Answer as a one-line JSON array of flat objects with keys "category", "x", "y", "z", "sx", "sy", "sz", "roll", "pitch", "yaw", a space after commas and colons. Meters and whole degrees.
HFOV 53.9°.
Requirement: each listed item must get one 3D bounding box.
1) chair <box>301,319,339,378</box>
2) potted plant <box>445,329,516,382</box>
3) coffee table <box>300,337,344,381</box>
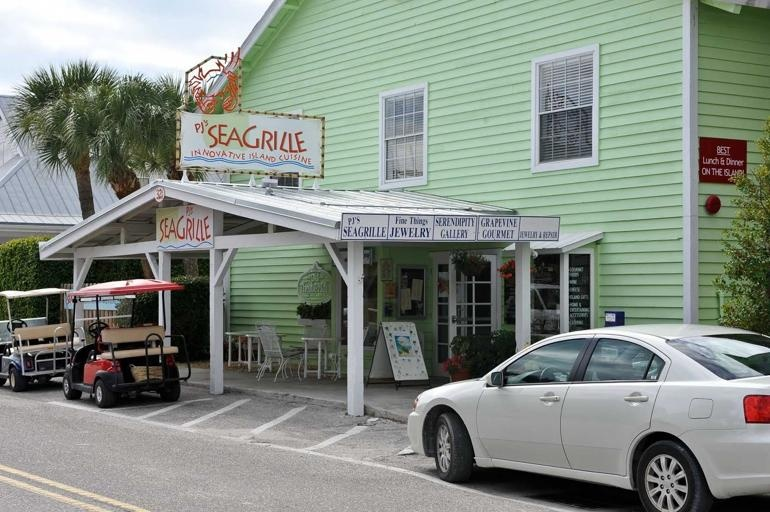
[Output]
[{"category": "chair", "x": -1.633, "y": 2.411, "z": 19.762, "sx": 1.293, "sy": 1.411, "sz": 1.324, "roll": 2, "pitch": -5, "yaw": -21}, {"category": "potted plant", "x": 1.980, "y": 1.986, "z": 15.518, "sx": 1.072, "sy": 0.919, "sz": 1.260, "roll": -3, "pitch": 0, "yaw": -36}, {"category": "coffee table", "x": -1.654, "y": 2.604, "z": 19.464, "sx": 1.097, "sy": 0.803, "sz": 1.057, "roll": 1, "pitch": -1, "yaw": -37}]
